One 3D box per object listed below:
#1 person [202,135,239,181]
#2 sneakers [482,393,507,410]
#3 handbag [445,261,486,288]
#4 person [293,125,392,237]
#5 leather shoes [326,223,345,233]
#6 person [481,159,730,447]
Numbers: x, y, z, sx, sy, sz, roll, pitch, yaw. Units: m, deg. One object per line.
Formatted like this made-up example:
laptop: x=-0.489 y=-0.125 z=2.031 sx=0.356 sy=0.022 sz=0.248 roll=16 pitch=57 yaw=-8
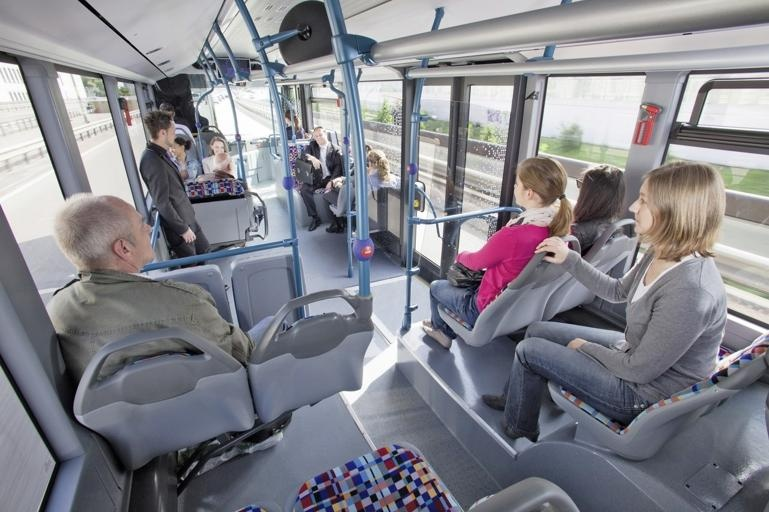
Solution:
person: x=-2.265 y=-1.368 z=6.045 sx=0.563 sy=0.640 sz=1.185 roll=-2 pitch=17 yaw=-18
sneakers: x=0.767 y=1.019 z=3.041 sx=0.172 sy=0.126 sz=0.068 roll=24 pitch=42 yaw=31
handbag: x=0.590 y=0.138 z=3.197 sx=0.221 sy=0.181 sz=0.090 roll=-5 pitch=-21 yaw=21
person: x=-0.737 y=-1.116 z=6.614 sx=1.132 sy=1.018 sz=2.096 roll=-15 pitch=36 yaw=-20
leather shoes: x=-0.765 y=-0.438 z=6.715 sx=0.259 sy=0.107 sz=0.136 roll=4 pitch=28 yaw=9
person: x=1.407 y=-0.105 z=3.073 sx=1.521 sy=2.196 sz=1.099 roll=12 pitch=28 yaw=32
